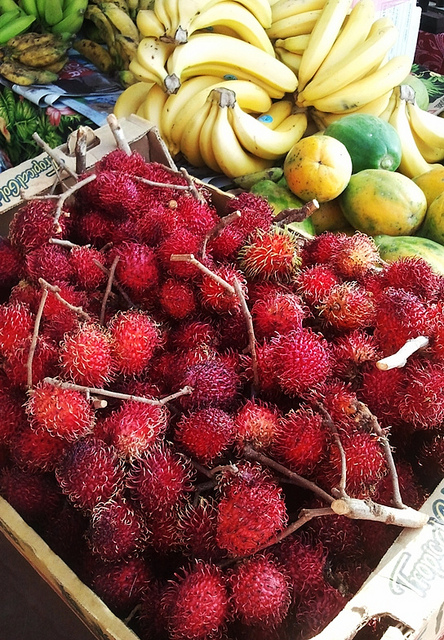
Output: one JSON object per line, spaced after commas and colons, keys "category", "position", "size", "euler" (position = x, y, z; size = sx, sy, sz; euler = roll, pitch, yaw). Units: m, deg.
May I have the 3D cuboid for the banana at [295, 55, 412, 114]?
{"category": "banana", "position": [0.514, -0.838, 1.917], "size": [0.460, 0.150, 0.103], "euler": [-25, 25, -3]}

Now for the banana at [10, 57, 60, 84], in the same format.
{"category": "banana", "position": [-0.965, -1.280, 2.709], "size": [0.271, 0.071, 0.088], "euler": [21, 26, 0]}

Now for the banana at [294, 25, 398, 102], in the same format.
{"category": "banana", "position": [0.457, -0.922, 1.905], "size": [0.372, 0.100, 0.133], "euler": [-39, 36, -3]}

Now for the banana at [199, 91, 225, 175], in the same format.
{"category": "banana", "position": [-0.031, -0.640, 1.802], "size": [0.060, 0.217, 0.080], "euler": [20, 35, 34]}

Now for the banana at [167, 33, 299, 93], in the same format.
{"category": "banana", "position": [0.043, -0.893, 1.905], "size": [0.452, 0.099, 0.213], "euler": [-10, 27, -15]}

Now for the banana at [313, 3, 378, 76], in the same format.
{"category": "banana", "position": [0.447, -1.006, 1.909], "size": [0.340, 0.115, 0.077], "euler": [-54, 37, -9]}

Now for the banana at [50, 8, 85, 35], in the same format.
{"category": "banana", "position": [-0.862, -1.670, 2.951], "size": [0.080, 0.099, 0.285], "euler": [-13, 8, -27]}

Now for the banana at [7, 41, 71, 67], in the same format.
{"category": "banana", "position": [-0.930, -1.369, 2.755], "size": [0.360, 0.120, 0.094], "euler": [-6, 10, 2]}

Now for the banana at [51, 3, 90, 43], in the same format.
{"category": "banana", "position": [-0.839, -1.617, 2.893], "size": [0.198, 0.168, 0.323], "euler": [-1, 47, -13]}

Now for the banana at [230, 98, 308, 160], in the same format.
{"category": "banana", "position": [0.166, -0.687, 1.860], "size": [0.314, 0.192, 0.096], "euler": [-12, 37, -20]}

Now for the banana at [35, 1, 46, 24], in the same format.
{"category": "banana", "position": [-1.020, -1.760, 2.996], "size": [0.040, 0.143, 0.030], "euler": [7, 32, 16]}

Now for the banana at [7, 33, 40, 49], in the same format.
{"category": "banana", "position": [-1.083, -1.525, 2.876], "size": [0.138, 0.046, 0.100], "euler": [-34, 35, -3]}

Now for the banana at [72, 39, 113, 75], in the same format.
{"category": "banana", "position": [-0.695, -1.492, 2.965], "size": [0.113, 0.119, 0.420], "euler": [-29, 45, -24]}

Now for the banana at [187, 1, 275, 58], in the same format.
{"category": "banana", "position": [0.043, -1.085, 1.940], "size": [0.357, 0.073, 0.191], "euler": [21, 49, -30]}

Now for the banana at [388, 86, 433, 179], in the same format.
{"category": "banana", "position": [0.814, -0.795, 2.154], "size": [0.107, 0.182, 0.533], "euler": [-22, 3, 30]}

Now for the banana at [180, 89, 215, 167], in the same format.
{"category": "banana", "position": [-0.076, -0.657, 1.840], "size": [0.098, 0.264, 0.074], "euler": [-8, 36, -44]}

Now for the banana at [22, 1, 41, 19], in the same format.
{"category": "banana", "position": [-1.078, -1.748, 2.988], "size": [0.058, 0.090, 0.024], "euler": [-31, 18, -19]}
